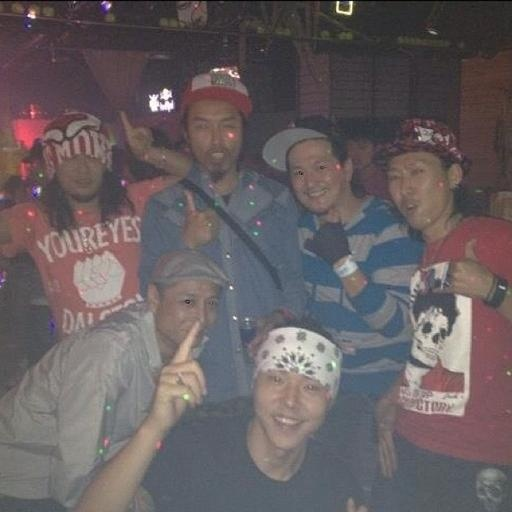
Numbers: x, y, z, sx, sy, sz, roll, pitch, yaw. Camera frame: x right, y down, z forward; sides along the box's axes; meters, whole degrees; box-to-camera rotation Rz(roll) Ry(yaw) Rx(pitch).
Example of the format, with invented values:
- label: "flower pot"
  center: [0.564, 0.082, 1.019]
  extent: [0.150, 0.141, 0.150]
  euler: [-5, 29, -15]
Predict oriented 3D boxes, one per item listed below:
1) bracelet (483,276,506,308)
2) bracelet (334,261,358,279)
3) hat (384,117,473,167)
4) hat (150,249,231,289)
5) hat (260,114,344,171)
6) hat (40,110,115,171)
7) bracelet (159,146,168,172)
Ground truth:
- label: "bracelet"
  center: [1.007, 0.152, 2.857]
  extent: [0.047, 0.112, 0.094]
  euler: [14, 9, -10]
- label: "bracelet"
  center: [0.420, 0.061, 3.182]
  extent: [0.088, 0.063, 0.073]
  euler: [-27, 6, 47]
- label: "hat"
  center: [0.749, -0.477, 3.024]
  extent: [0.282, 0.119, 0.213]
  euler: [5, 2, -38]
- label: "hat"
  center: [-0.327, 0.048, 3.228]
  extent: [0.255, 0.131, 0.189]
  euler: [-3, 6, -1]
- label: "hat"
  center: [0.201, -0.542, 3.247]
  extent: [0.355, 0.101, 0.246]
  euler: [-11, -32, -24]
- label: "hat"
  center: [-0.854, -0.520, 3.237]
  extent: [0.235, 0.245, 0.318]
  euler: [-4, -11, -15]
- label: "bracelet"
  center: [-0.463, -0.481, 3.427]
  extent: [0.028, 0.100, 0.077]
  euler: [-3, -7, 27]
